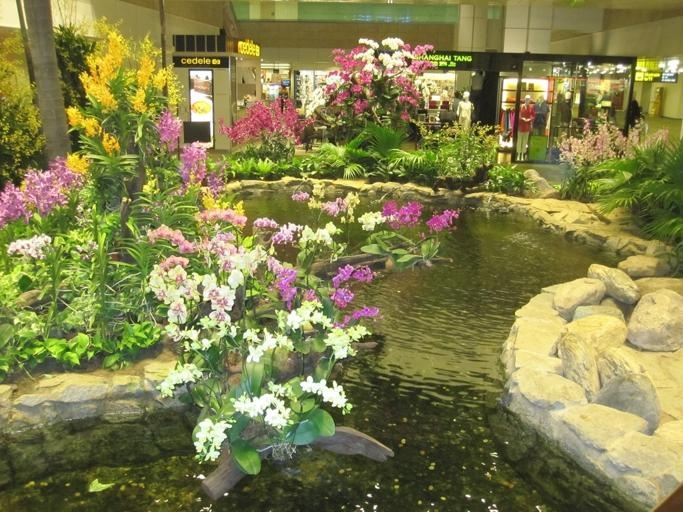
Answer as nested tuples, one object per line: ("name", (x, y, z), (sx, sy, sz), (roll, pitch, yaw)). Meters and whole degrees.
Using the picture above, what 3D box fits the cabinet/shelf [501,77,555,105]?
("cabinet/shelf", (5.994, -5.310, 14.717), (1.075, 0.862, 0.397), (2, 19, 9))

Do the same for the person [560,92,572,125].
("person", (7.095, -4.663, 14.553), (0.311, 1.013, 0.083), (4, 17, 17))

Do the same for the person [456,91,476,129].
("person", (4.132, -4.935, 15.463), (0.537, 1.163, 1.809), (3, 16, 14))
